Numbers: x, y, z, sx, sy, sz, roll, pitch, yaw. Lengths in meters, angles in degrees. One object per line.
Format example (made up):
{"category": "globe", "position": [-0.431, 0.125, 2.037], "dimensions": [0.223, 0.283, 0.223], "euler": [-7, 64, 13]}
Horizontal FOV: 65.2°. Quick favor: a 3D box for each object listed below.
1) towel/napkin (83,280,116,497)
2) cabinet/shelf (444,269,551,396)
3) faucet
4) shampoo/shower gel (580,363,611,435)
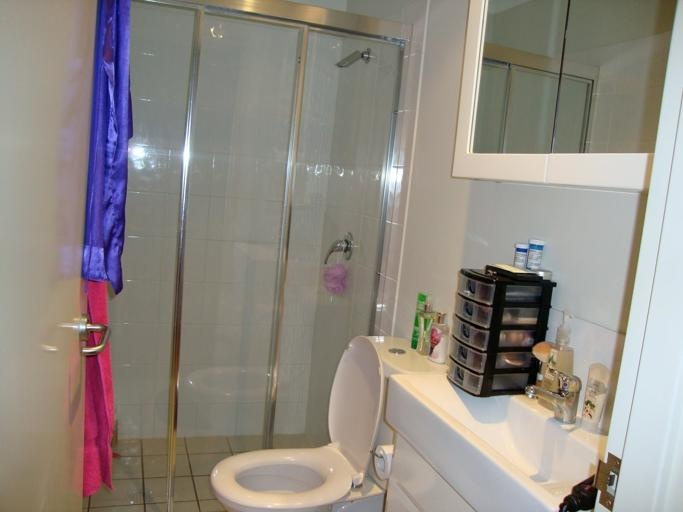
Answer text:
{"category": "towel/napkin", "position": [-0.900, 0.546, 1.971], "dimensions": [0.106, 1.050, 0.700], "euler": [-1, 9, -24]}
{"category": "cabinet/shelf", "position": [0.464, 0.217, 1.599], "dimensions": [0.134, 0.371, 0.266], "euler": [3, 6, -18]}
{"category": "faucet", "position": [0.559, 0.355, 1.421], "dimensions": [0.070, 0.117, 0.180], "euler": [1, 8, -13]}
{"category": "shampoo/shower gel", "position": [0.649, 0.363, 1.365], "dimensions": [0.052, 0.152, 0.119], "euler": [8, 10, 29]}
